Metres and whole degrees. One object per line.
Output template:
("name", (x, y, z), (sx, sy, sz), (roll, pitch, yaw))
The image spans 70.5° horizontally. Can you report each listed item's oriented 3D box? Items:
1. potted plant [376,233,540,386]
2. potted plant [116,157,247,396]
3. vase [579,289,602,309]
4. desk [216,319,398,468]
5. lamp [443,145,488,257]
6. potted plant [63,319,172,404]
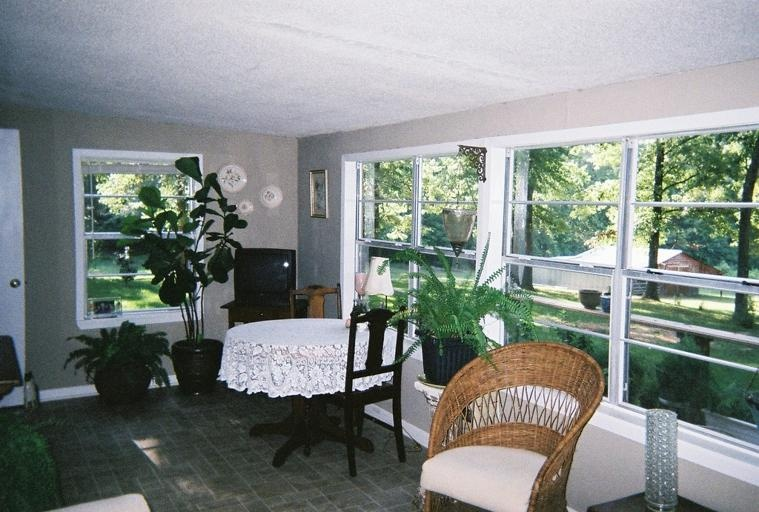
("potted plant", (0.626, 0.346, 4.064), (1.147, 0.789, 1.118), (-3, 6, -38))
("potted plant", (-1.960, 0.191, 5.853), (1.259, 2.627, 1.136), (-3, 10, -33))
("vase", (1.540, 0.309, 3.919), (0.133, 0.098, 0.130), (-4, 7, -44))
("desk", (-0.595, 1.230, 4.907), (1.635, 1.007, 1.566), (0, 0, 7))
("lamp", (0.665, -0.448, 4.077), (0.384, 0.820, 0.246), (-1, 6, -28))
("potted plant", (-2.657, 1.088, 5.677), (0.932, 0.643, 0.936), (-1, -5, 17))
